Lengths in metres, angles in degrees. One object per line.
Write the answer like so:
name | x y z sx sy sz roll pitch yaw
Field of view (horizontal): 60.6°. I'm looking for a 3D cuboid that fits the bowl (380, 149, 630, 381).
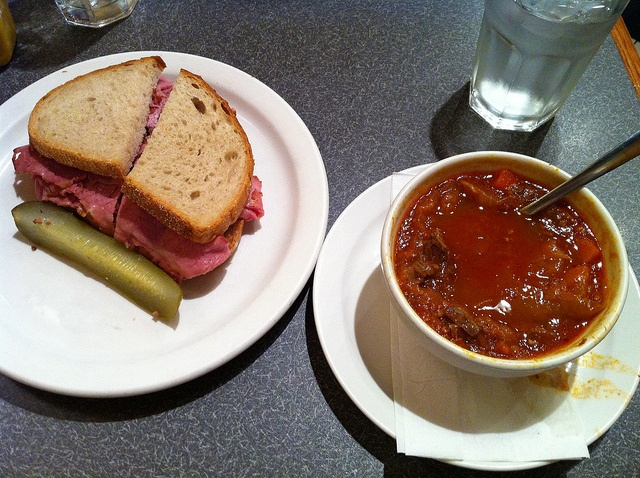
bowl | 0.511 0.058 1.571 0.670 0.130 0.646 0 70 1
